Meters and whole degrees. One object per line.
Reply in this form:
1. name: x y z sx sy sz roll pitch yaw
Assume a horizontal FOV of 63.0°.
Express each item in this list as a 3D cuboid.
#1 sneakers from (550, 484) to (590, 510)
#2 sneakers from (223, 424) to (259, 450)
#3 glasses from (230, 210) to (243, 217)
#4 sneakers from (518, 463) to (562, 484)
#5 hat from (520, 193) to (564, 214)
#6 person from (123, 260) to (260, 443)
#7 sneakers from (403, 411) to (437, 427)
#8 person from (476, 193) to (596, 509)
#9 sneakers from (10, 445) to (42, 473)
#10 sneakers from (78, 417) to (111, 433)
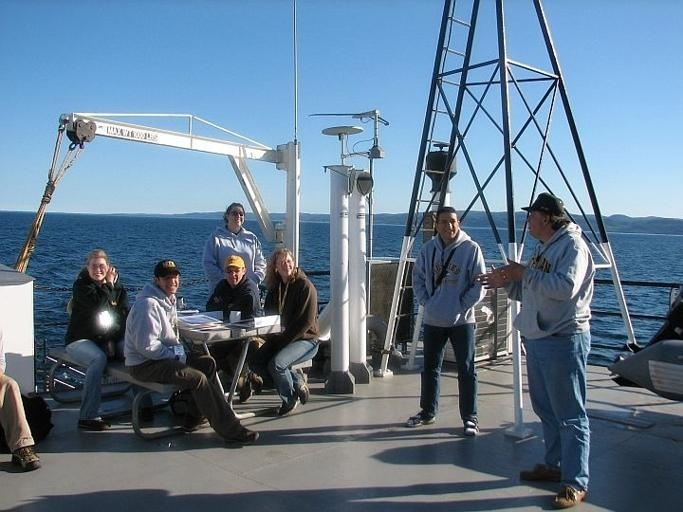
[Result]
1. sneakers: 1.663 1.759 4.090 0.246 0.099 0.128 4 -23 -36
2. sneakers: -0.912 1.659 5.124 0.267 0.124 0.153 -5 1 -5
3. glasses: -1.304 -0.529 7.100 0.073 0.070 0.206 3 6 22
4. sneakers: 1.587 1.730 4.506 0.348 0.150 0.120 2 -4 12
5. hat: 1.599 -0.410 4.369 0.226 0.121 0.152 16 11 27
6. person: -1.450 0.869 5.166 1.110 1.622 0.367 1 5 10
7. sneakers: 0.774 1.628 5.594 0.269 0.118 0.129 2 -5 -17
8. person: 1.580 0.671 4.286 0.668 2.277 0.531 5 7 40
9. sneakers: -2.581 1.664 4.585 0.319 0.149 0.120 -5 -8 43
10. sneakers: -2.383 1.620 5.376 0.291 0.127 0.116 3 -3 -6
